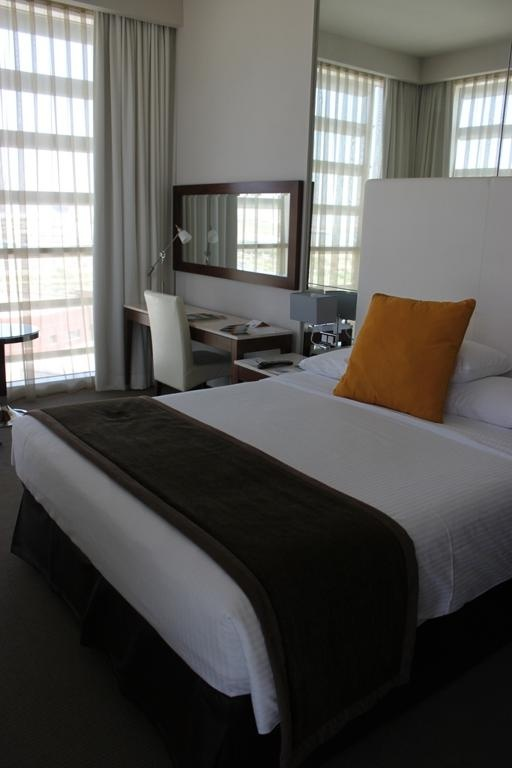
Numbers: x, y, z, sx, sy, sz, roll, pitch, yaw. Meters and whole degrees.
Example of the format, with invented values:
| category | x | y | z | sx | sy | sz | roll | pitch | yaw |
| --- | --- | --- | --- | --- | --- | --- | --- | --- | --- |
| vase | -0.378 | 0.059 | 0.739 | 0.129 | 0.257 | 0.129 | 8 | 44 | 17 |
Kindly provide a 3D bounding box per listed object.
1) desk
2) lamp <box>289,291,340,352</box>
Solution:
| category | x | y | z | sx | sy | sz | roll | pitch | yaw |
| --- | --- | --- | --- | --- | --- | --- | --- | --- | --- |
| desk | -0.449 | -0.139 | 4.038 | 1.420 | 0.851 | 0.514 | 20 | 22 | 41 |
| lamp | 0.335 | -0.351 | 3.047 | 0.176 | 0.335 | 0.342 | -7 | 14 | -26 |
